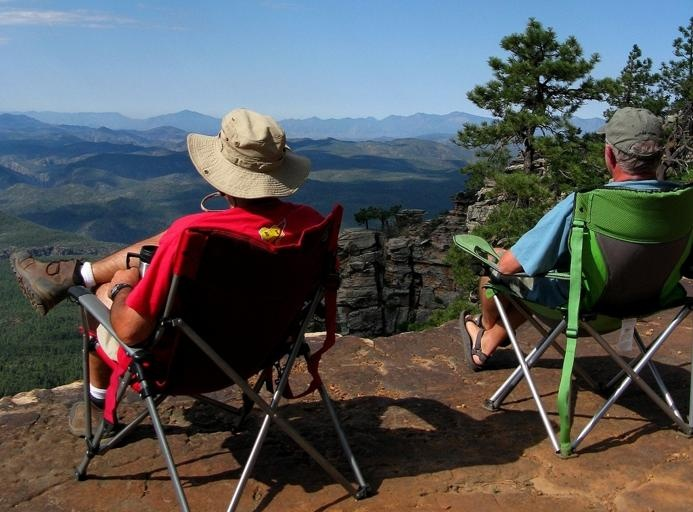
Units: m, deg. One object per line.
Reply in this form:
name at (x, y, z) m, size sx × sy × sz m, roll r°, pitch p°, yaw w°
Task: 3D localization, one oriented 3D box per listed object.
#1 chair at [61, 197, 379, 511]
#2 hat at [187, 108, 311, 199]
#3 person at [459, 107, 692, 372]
chair at (-0.693, 0.494, 2.685) m, size 1.490 × 1.588 × 1.076 m, roll -3°, pitch 21°, yaw -13°
hat at (-0.487, -0.583, 2.721) m, size 0.599 × 0.217 × 0.601 m, roll -30°, pitch 60°, yaw -35°
person at (1.425, 0.086, 3.456) m, size 0.985 × 2.101 × 0.908 m, roll 4°, pitch 22°, yaw 5°
